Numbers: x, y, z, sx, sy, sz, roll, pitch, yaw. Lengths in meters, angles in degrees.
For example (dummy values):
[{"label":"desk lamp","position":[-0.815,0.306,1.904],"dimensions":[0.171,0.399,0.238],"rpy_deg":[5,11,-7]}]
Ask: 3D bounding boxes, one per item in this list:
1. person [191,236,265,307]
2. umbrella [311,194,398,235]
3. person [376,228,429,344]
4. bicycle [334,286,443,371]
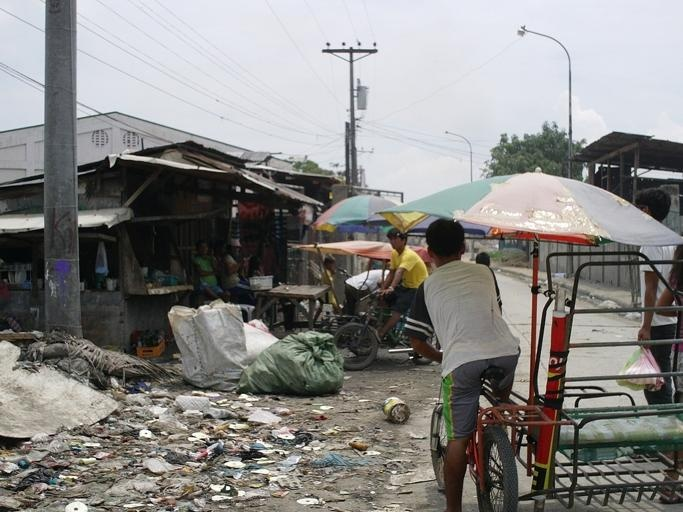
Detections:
[{"label":"person","position":[-1.999,0.316,14.532],"dimensions":[0.987,1.111,0.567],"rpy_deg":[-9,17,-44]},{"label":"umbrella","position":[0.524,-0.749,15.743],"dimensions":[1.622,0.532,1.589],"rpy_deg":[2,2,33]},{"label":"person","position":[0.863,0.399,12.330],"dimensions":[0.679,1.565,0.994],"rpy_deg":[5,4,41]},{"label":"bicycle","position":[0.625,1.157,12.652],"dimensions":[1.494,0.897,0.901],"rpy_deg":[2,-4,-13]}]
